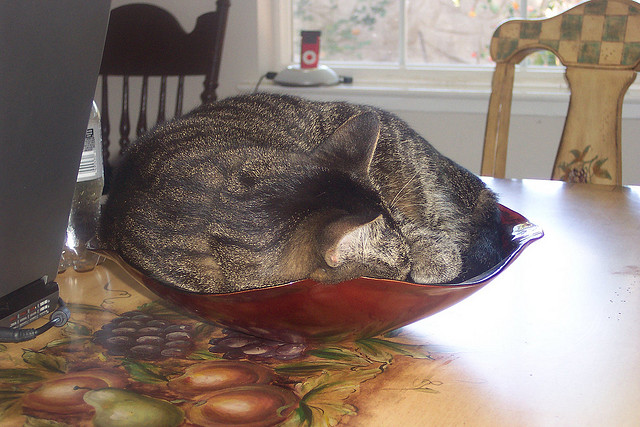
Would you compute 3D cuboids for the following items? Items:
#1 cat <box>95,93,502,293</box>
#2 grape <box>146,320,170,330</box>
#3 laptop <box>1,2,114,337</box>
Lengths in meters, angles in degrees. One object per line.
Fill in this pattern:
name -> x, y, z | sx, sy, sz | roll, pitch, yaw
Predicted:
cat -> -0.024, 0.013, 0.753 | 0.395, 0.151, 0.229 | 2, 47, -10
grape -> -0.193, 0.130, 0.771 | 0.015, 0.004, 0.012 | 6, 6, 12
laptop -> -0.294, -0.047, 0.699 | 0.039, 0.349, 0.153 | 22, 28, 40
